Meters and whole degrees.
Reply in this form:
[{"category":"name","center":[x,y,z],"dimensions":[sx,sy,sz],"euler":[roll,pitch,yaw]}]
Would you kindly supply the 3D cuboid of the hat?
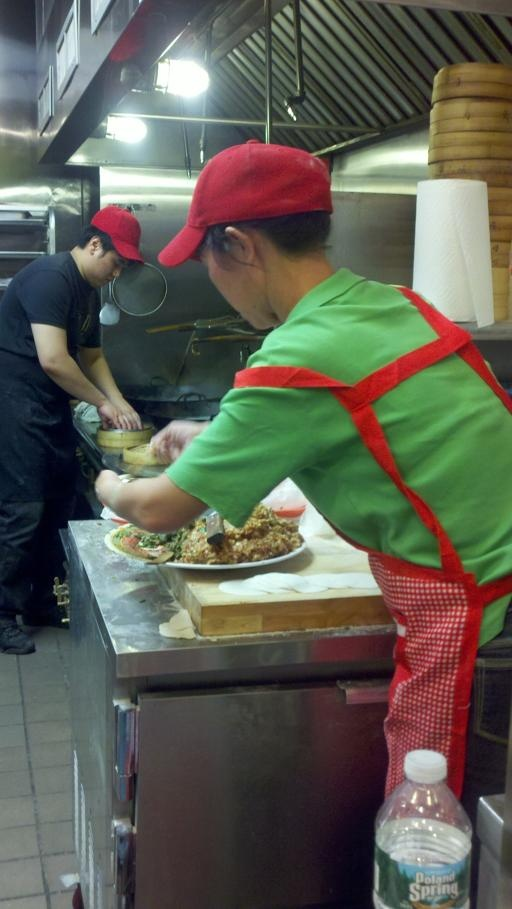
[{"category":"hat","center":[-0.021,-0.328,0.929],"dimensions":[0.236,0.137,0.165],"euler":[-6,15,11]}]
